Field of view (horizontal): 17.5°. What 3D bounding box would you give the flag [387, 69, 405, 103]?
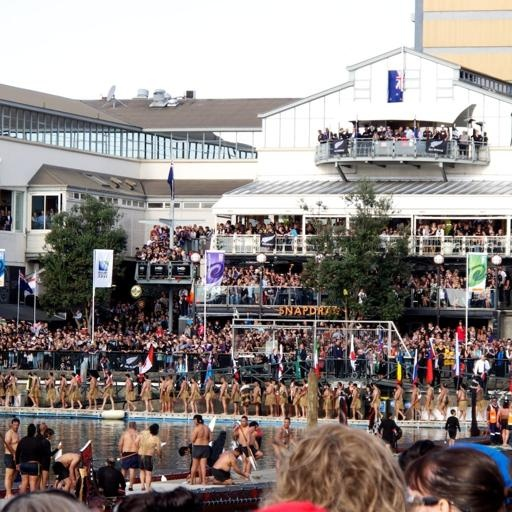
[{"bbox_3d":[7.002,-8.308,84.700,0.826,1.794,1.190,0,-5,4],"label":"flag"}]
